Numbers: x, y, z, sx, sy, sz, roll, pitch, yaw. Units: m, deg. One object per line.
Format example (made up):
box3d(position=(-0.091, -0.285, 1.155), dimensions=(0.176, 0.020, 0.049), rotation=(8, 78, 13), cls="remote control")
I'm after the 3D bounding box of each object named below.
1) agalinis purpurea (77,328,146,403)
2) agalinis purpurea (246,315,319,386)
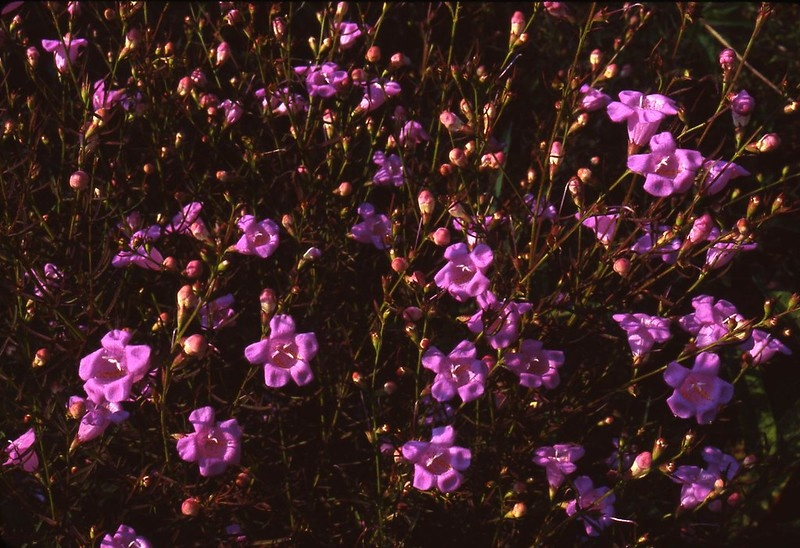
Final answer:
box3d(position=(-1.350, 0.452, 4.262), dimensions=(0.317, 0.149, 0.370), rotation=(12, 72, 21), cls="agalinis purpurea")
box3d(position=(-0.591, 0.376, 4.335), dimensions=(0.339, 0.226, 0.282), rotation=(1, 48, 0), cls="agalinis purpurea")
